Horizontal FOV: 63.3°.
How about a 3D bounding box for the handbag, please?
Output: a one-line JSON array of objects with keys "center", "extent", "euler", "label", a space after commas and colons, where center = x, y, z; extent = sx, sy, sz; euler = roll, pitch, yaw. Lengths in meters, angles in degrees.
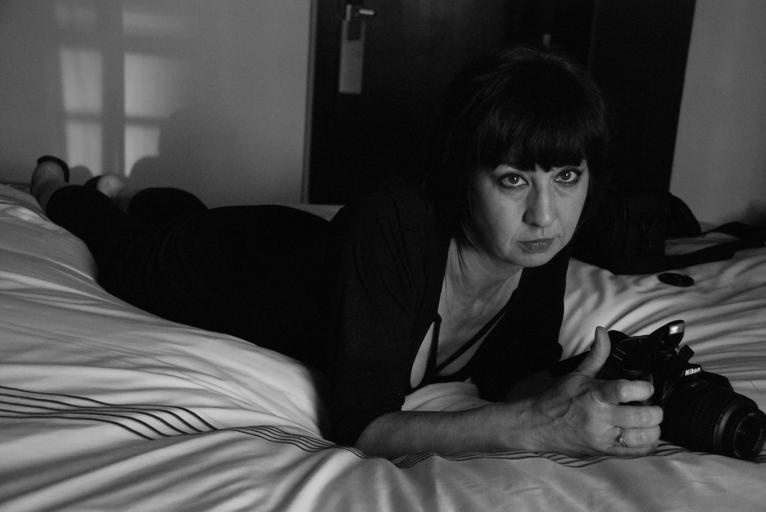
[{"center": [0.775, -0.087, 2.091], "extent": [0.351, 0.206, 0.487], "euler": [-5, 14, -18], "label": "handbag"}]
